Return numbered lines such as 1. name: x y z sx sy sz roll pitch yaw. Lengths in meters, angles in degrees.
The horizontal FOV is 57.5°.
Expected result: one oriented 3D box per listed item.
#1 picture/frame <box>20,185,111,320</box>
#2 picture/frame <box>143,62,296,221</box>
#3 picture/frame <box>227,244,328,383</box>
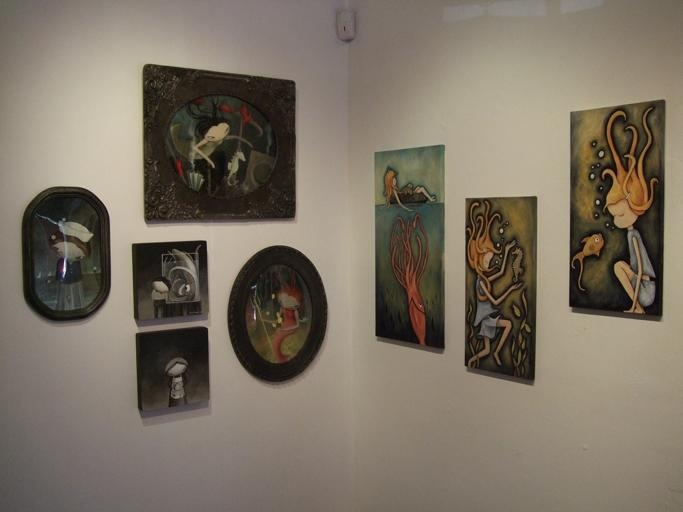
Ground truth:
1. picture/frame: -1.365 0.002 3.138 0.404 0.762 0.041 -6 30 -32
2. picture/frame: -0.706 -0.633 3.430 0.749 0.849 0.054 -2 6 -33
3. picture/frame: -0.400 0.337 3.660 0.697 1.024 0.092 -2 4 -44
